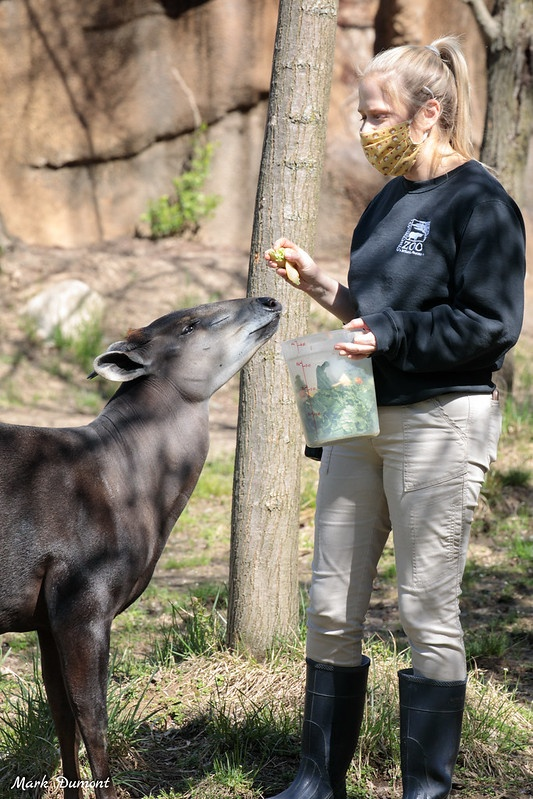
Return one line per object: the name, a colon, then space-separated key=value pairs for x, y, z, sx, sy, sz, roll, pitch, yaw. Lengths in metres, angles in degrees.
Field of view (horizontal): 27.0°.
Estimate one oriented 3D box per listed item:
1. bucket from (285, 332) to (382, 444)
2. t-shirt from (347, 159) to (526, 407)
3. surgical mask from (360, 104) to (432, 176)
bucket: x=0.227 y=-0.018 z=3.714 sx=0.338 sy=0.319 sz=0.317 roll=-11 pitch=-10 yaw=-2
t-shirt: x=0.512 y=-0.361 z=3.548 sx=0.628 sy=0.793 sz=0.468 roll=6 pitch=5 yaw=28
surgical mask: x=0.434 y=-0.842 z=3.667 sx=0.188 sy=0.146 sz=0.169 roll=-20 pitch=25 yaw=-14
